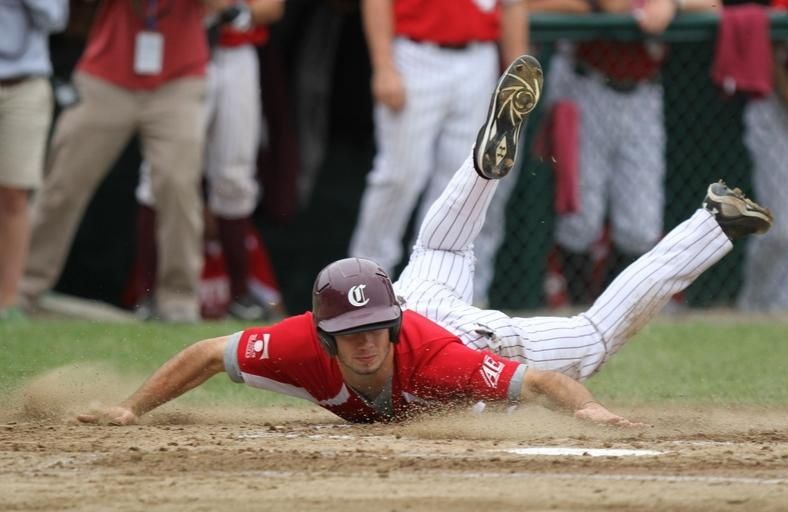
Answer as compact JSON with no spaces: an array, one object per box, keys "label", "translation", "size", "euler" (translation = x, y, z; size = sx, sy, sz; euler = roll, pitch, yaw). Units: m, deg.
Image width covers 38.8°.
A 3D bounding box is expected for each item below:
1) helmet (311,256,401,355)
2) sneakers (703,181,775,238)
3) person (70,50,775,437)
[{"label":"helmet","translation":[-0.142,0.170,4.032],"size":[0.266,0.268,0.351],"euler":[-7,11,-7]},{"label":"sneakers","translation":[1.371,-0.178,4.566],"size":[0.322,0.159,0.156],"euler":[33,20,-20]},{"label":"person","translation":[0.345,-0.318,4.310],"size":[1.538,0.662,1.951],"euler":[6,28,30]}]
